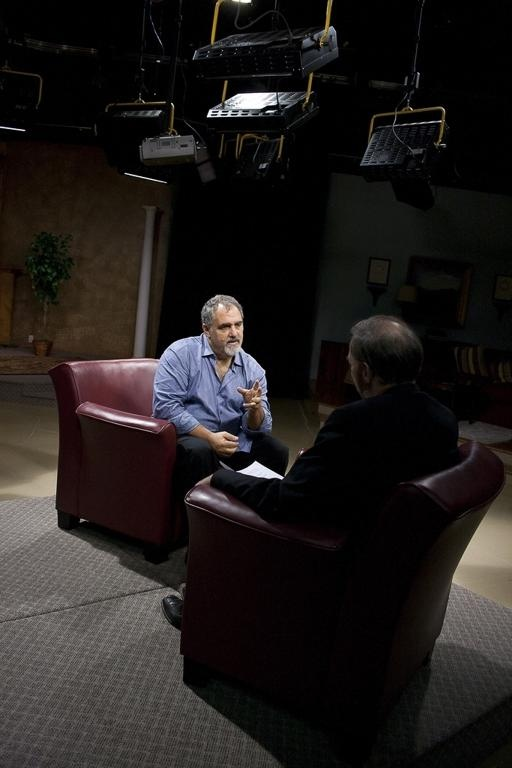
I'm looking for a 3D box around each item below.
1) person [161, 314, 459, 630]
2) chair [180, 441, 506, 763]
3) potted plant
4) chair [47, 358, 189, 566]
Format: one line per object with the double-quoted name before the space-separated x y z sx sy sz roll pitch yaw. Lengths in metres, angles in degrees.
"person" 0.224 0.271 1.450 0.435 0.832 0.604 2 -1 -31
"chair" 0.287 0.448 1.554 0.706 0.792 0.777 11 12 34
"potted plant" -2.466 -1.160 6.319 0.567 1.553 1.548 3 5 -24
"chair" -0.551 0.293 2.653 0.697 0.781 0.779 9 7 24
